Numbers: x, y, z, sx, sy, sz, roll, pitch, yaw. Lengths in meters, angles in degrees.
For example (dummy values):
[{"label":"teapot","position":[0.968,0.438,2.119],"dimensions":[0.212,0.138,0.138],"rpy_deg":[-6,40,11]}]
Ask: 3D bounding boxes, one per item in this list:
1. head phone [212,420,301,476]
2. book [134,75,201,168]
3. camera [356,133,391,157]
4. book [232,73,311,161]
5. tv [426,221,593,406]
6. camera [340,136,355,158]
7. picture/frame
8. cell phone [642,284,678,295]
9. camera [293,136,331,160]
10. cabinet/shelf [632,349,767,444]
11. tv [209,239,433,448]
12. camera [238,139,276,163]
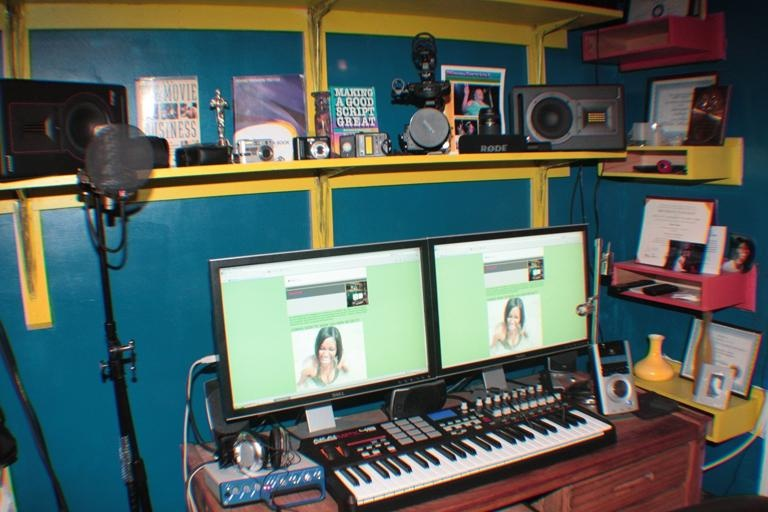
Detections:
[{"label":"head phone","position":[-0.440,0.627,1.970],"dimensions":[0.172,0.067,0.176],"rpy_deg":[0,-2,37]},{"label":"book","position":[-0.792,-0.508,2.172],"dimensions":[0.245,0.327,0.120],"rpy_deg":[-10,14,-19]},{"label":"camera","position":[-0.042,-0.421,2.207],"dimensions":[0.137,0.087,0.082],"rpy_deg":[-6,13,-4]},{"label":"book","position":[-0.451,-0.538,2.259],"dimensions":[0.383,0.472,0.051],"rpy_deg":[-3,5,-13]},{"label":"tv","position":[0.506,0.241,2.345],"dimensions":[0.718,0.494,0.030],"rpy_deg":[-7,3,-21]},{"label":"camera","position":[-0.142,-0.412,2.212],"dimensions":[0.062,0.080,0.033],"rpy_deg":[1,2,7]},{"label":"picture/frame","position":[1.451,0.442,2.489],"dimensions":[0.039,0.347,0.356],"rpy_deg":[17,-7,-30]},{"label":"cell phone","position":[1.226,0.151,2.594],"dimensions":[0.087,0.019,0.061],"rpy_deg":[-6,9,-27]},{"label":"camera","position":[-0.258,-0.384,2.168],"dimensions":[0.156,0.100,0.086],"rpy_deg":[-2,5,-19]},{"label":"cabinet/shelf","position":[1.408,0.531,2.407],"dimensions":[0.305,0.099,0.432],"rpy_deg":[0,9,-30]},{"label":"tv","position":[-0.217,0.320,2.135],"dimensions":[0.769,0.616,0.177],"rpy_deg":[-6,4,-21]},{"label":"camera","position":[-0.455,-0.356,2.095],"dimensions":[0.148,0.098,0.085],"rpy_deg":[-5,10,-27]}]
